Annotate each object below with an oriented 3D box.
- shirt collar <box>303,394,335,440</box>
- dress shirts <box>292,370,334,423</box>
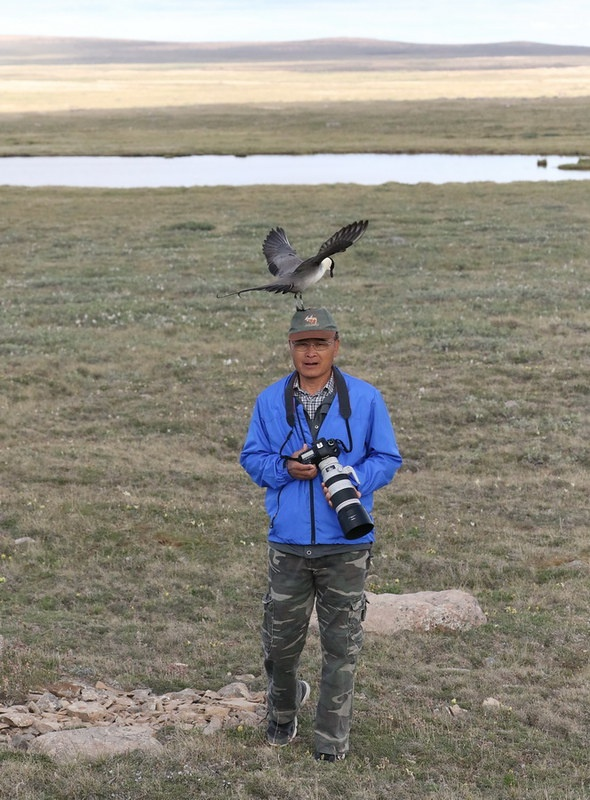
[{"bbox_3d":[0.353,0.247,26.854,0.376,0.645,0.228,2,-10,18],"label":"shirt collar"},{"bbox_3d":[0.240,-0.091,26.973,0.429,0.719,0.559,1,39,2],"label":"dress shirts"}]
